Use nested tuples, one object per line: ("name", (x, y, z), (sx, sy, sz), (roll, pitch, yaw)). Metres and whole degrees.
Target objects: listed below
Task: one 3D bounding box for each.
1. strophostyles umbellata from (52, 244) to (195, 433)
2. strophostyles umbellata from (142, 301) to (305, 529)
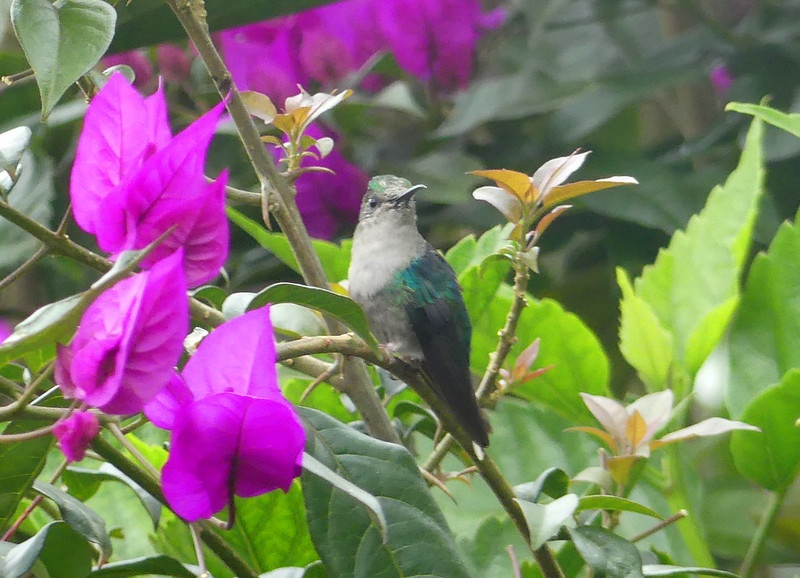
("strophostyles umbellata", (-0.212, 0.039, 0.900), (0.129, 0.105, 0.039), (-61, 10, -2))
("strophostyles umbellata", (-0.134, 0.105, 0.970), (0.163, 0.098, 0.156), (-45, 21, 6))
